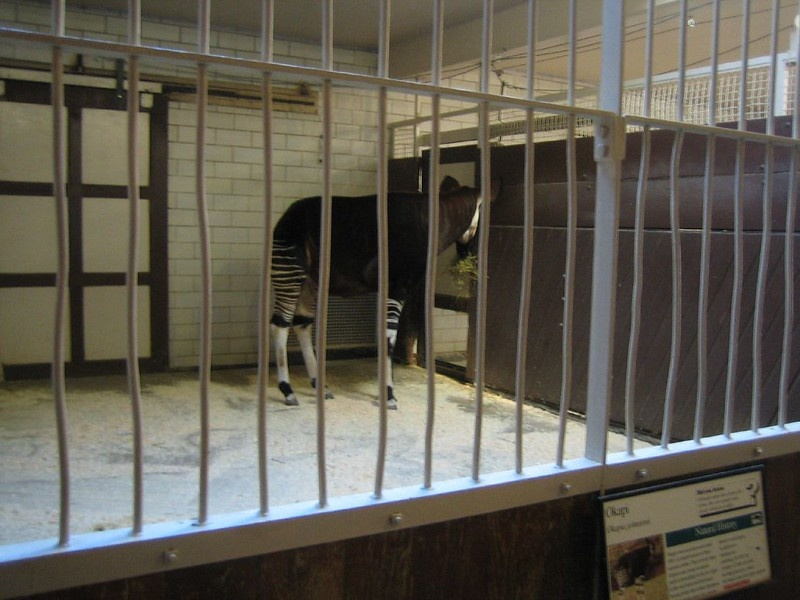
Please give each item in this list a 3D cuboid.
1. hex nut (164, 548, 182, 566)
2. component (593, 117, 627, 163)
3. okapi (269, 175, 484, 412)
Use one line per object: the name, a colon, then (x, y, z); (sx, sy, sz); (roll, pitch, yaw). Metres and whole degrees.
hex nut: (-0.832, 0.945, 2.705); (0.079, 0.059, 0.046); (-1, 0, -32)
component: (0.921, -0.709, 3.236); (0.105, 0.193, 0.111); (-20, 24, -31)
okapi: (-0.145, -0.053, 7.123); (2.313, 1.970, 0.599); (-1, 2, -8)
